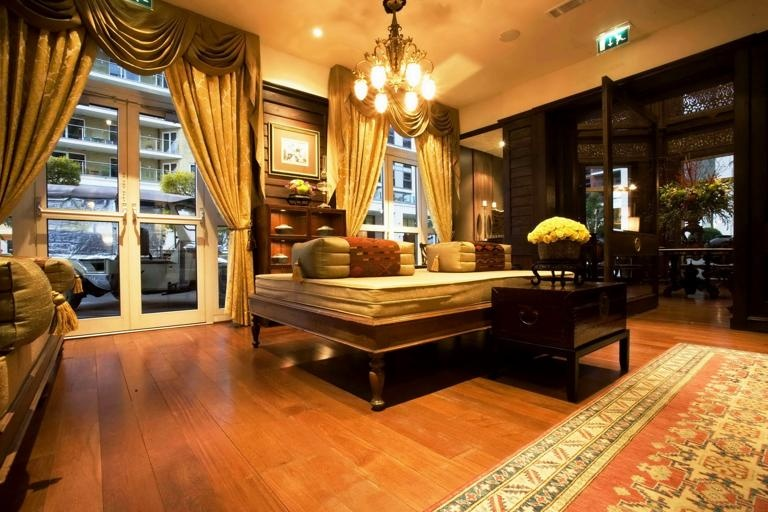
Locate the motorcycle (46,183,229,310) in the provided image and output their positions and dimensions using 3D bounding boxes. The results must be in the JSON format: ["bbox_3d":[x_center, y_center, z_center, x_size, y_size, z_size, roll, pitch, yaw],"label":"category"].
[{"bbox_3d":[-2.834,-0.126,5.309,1.661,1.610,0.019,2,-19,-37],"label":"motorcycle"}]

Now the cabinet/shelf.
[{"bbox_3d":[-0.886,-0.189,4.992,0.803,0.783,0.256,1,-3,-31],"label":"cabinet/shelf"}]

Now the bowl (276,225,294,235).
[{"bbox_3d":[-1.158,-0.306,5.519,0.132,0.081,0.135,-1,2,0],"label":"bowl"}]

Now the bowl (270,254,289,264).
[{"bbox_3d":[-1.167,0.036,5.484,0.170,0.117,0.293,-2,-1,30],"label":"bowl"}]

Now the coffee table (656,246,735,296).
[{"bbox_3d":[4.899,0.223,7.498,0.956,0.682,1.395,2,2,43],"label":"coffee table"}]

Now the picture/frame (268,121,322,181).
[{"bbox_3d":[-1.168,-1.330,6.051,0.803,0.765,0.056,3,-7,-36],"label":"picture/frame"}]

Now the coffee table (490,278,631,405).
[{"bbox_3d":[1.527,0.633,4.076,1.163,0.805,0.825,-2,2,-37],"label":"coffee table"}]

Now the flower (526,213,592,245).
[{"bbox_3d":[1.470,-0.194,3.903,0.302,0.152,0.311,-2,-2,42],"label":"flower"}]

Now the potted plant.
[{"bbox_3d":[5.396,-0.883,8.318,0.956,0.955,1.011,2,-6,4],"label":"potted plant"}]
